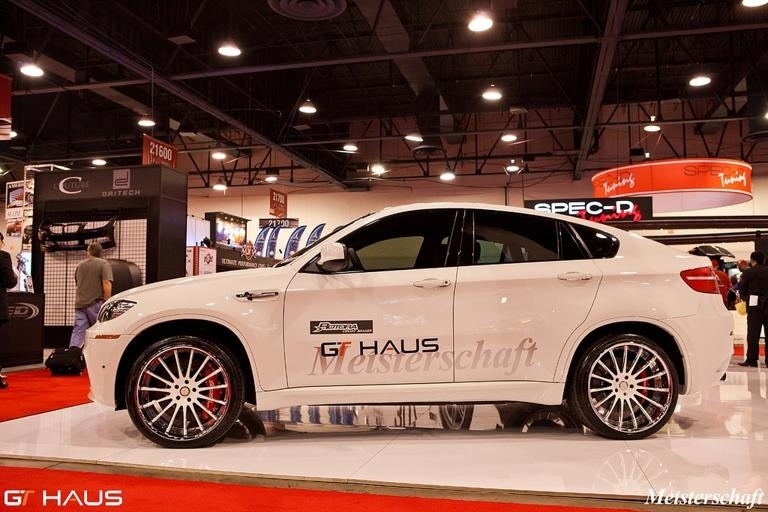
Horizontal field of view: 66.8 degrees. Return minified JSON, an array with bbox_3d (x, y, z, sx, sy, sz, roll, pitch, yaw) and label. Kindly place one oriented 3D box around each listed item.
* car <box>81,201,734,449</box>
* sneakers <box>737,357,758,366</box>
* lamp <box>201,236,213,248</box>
[{"bbox_3d":[0.420,0.882,6.951,6.010,2.146,2.795,2,-10,0],"label":"car"},{"bbox_3d":[6.670,1.967,10.747,0.374,0.162,0.128,6,3,39],"label":"sneakers"},{"bbox_3d":[-5.893,-0.460,19.366,0.330,0.434,0.429,6,-8,-1],"label":"lamp"}]
